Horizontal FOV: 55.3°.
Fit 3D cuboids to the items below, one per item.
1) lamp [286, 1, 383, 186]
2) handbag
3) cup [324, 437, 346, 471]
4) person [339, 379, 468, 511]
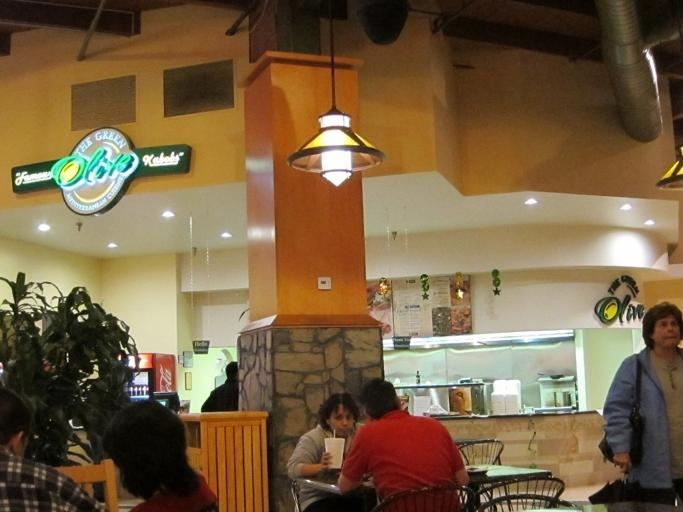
[{"bbox_3d":[-0.053,-0.957,5.199,0.763,0.675,0.517,-5,-11,12],"label":"lamp"},{"bbox_3d":[1.901,1.043,4.412,0.330,0.724,0.147,-8,-12,23],"label":"handbag"},{"bbox_3d":[-0.042,1.335,4.377,0.192,0.205,0.183,-2,-16,-1],"label":"cup"},{"bbox_3d":[0.334,1.086,3.902,0.775,0.702,0.376,-5,-11,9],"label":"person"}]
